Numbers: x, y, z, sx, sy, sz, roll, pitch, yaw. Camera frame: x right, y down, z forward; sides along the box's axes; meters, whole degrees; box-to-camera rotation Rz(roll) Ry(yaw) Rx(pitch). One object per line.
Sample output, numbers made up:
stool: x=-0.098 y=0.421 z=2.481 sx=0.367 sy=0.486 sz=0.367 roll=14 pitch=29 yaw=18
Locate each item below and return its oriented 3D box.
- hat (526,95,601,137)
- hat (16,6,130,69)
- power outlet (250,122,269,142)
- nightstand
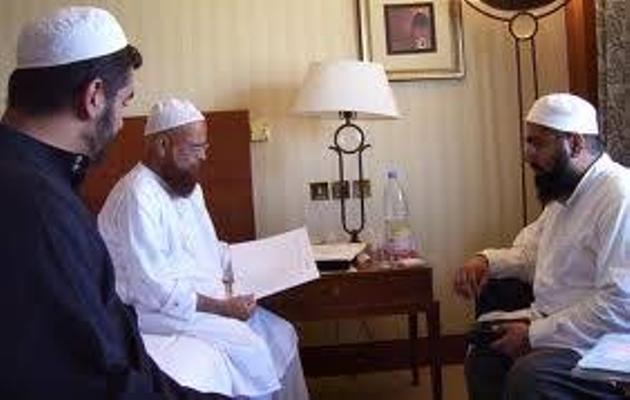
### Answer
hat: x=1.293 y=-0.481 z=2.759 sx=0.267 sy=0.164 sz=0.263 roll=11 pitch=14 yaw=-9
hat: x=-0.901 y=-0.601 z=1.912 sx=0.275 sy=0.171 sz=0.292 roll=-4 pitch=14 yaw=29
power outlet: x=-0.383 y=-0.484 z=3.586 sx=0.113 sy=0.137 sz=0.030 roll=-1 pitch=1 yaw=2
nightstand: x=0.314 y=0.985 z=3.330 sx=1.136 sy=1.025 sz=0.776 roll=-2 pitch=-4 yaw=-1
